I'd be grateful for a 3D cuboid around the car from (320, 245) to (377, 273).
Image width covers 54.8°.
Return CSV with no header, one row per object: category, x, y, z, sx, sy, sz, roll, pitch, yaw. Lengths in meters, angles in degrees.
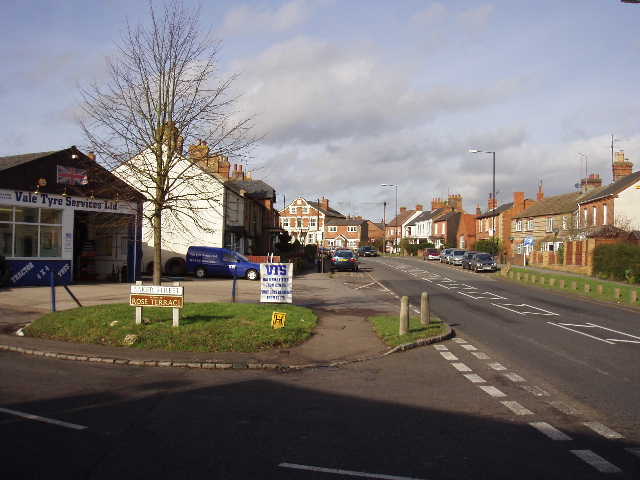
car,1.894,1.456,49.237,1.879,1.375,4.167,0,-5,2
